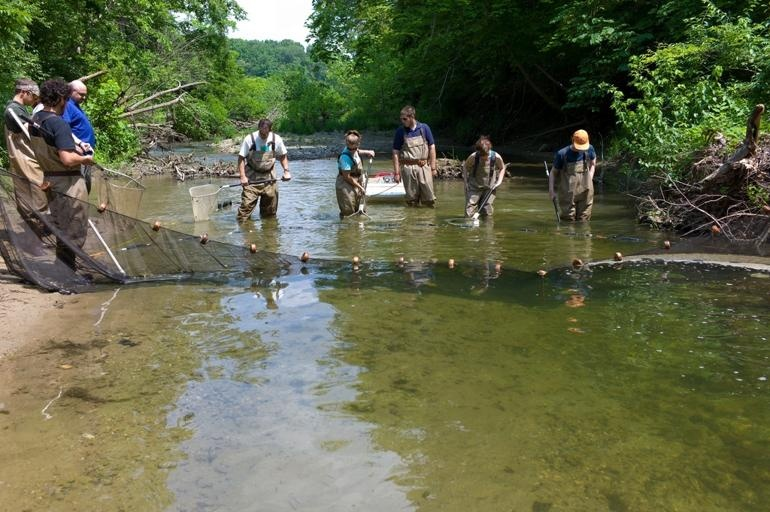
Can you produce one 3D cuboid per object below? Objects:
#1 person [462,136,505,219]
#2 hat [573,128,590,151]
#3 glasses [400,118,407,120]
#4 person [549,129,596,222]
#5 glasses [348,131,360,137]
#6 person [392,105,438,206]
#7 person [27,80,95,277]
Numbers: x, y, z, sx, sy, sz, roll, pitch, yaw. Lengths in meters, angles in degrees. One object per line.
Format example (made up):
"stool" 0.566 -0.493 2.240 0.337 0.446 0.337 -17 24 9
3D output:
"person" 2.057 -1.680 12.413 0.822 1.690 1.120 -2 15 8
"hat" 3.643 -2.165 10.966 0.285 0.369 0.452 0 14 16
"glasses" 0.389 -2.840 12.176 0.091 0.022 0.079 0 4 -17
"person" 3.547 -1.518 11.249 0.810 1.745 0.828 -1 16 14
"glasses" -0.643 -2.479 11.873 0.269 0.092 0.303 4 6 2
"person" 0.624 -2.133 12.820 0.881 2.191 1.053 -4 15 3
"person" -4.276 -1.231 7.889 0.628 2.244 0.607 -13 18 -27
